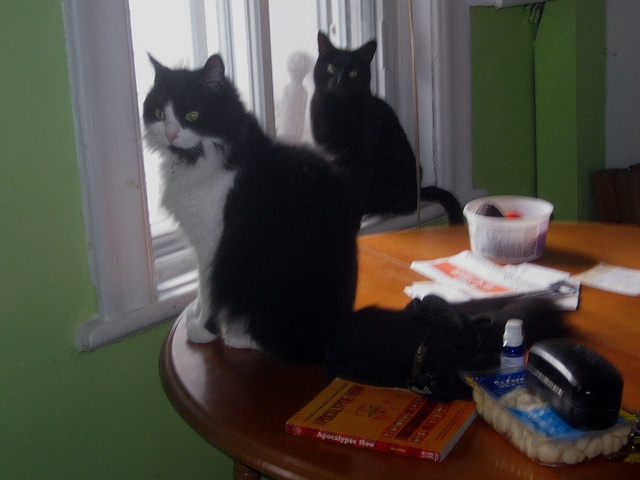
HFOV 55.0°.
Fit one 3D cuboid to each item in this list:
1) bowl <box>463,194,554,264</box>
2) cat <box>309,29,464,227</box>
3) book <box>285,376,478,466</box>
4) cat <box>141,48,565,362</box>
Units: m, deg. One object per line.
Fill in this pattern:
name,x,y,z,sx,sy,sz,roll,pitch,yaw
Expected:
bowl,0.356,-0.027,1.127,0.117,0.076,0.134,0,17,15
cat,0.108,-0.185,1.289,0.362,0.586,0.168,6,-11,-29
book,0.075,0.206,0.772,0.137,0.019,0.112,11,28,23
cat,-0.018,-0.043,1.132,0.478,0.702,0.369,3,-1,-8
